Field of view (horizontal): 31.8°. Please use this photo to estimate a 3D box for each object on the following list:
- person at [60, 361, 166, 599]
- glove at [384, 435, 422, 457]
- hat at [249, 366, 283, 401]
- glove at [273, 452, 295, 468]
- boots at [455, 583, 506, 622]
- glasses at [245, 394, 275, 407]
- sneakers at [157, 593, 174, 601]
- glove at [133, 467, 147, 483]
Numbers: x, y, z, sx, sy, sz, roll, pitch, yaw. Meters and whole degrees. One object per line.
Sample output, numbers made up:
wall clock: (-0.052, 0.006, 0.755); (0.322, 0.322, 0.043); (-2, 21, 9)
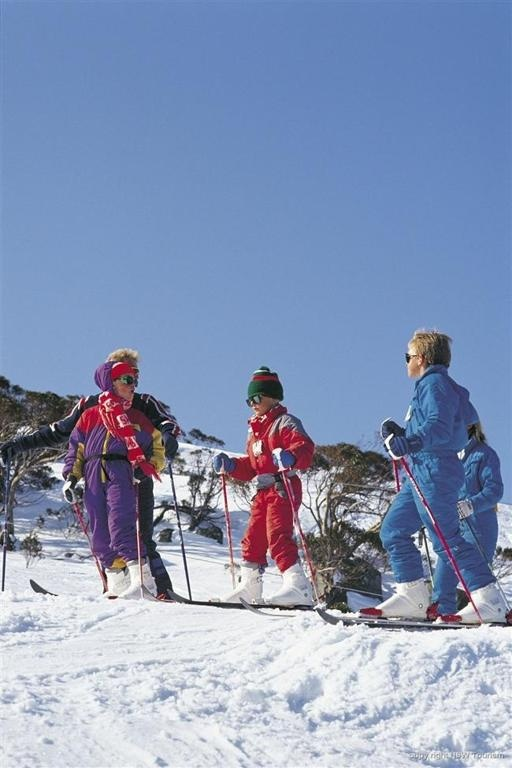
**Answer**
person: (-0.802, 0.559, 5.483); (0.609, 1.423, 0.833); (2, -3, -32)
glove: (0.712, 0.301, 4.395); (0.170, 0.095, 0.075); (-8, -10, -25)
hat: (0.082, -0.031, 5.438); (0.204, 0.201, 0.216); (0, -28, 3)
glove: (0.167, 0.412, 4.936); (0.084, 0.099, 0.053); (-10, -12, -16)
boots: (1.117, 1.081, 4.442); (0.247, 0.158, 0.145); (2, -6, 10)
glasses: (0.024, 0.104, 5.434); (0.159, 0.045, 0.149); (18, -20, -41)
sneakers: (-0.526, 1.250, 5.283); (0.046, 0.053, 0.123); (10, -15, -26)
glove: (-0.705, 0.556, 5.531); (0.068, 0.071, 0.108); (4, -14, -8)
